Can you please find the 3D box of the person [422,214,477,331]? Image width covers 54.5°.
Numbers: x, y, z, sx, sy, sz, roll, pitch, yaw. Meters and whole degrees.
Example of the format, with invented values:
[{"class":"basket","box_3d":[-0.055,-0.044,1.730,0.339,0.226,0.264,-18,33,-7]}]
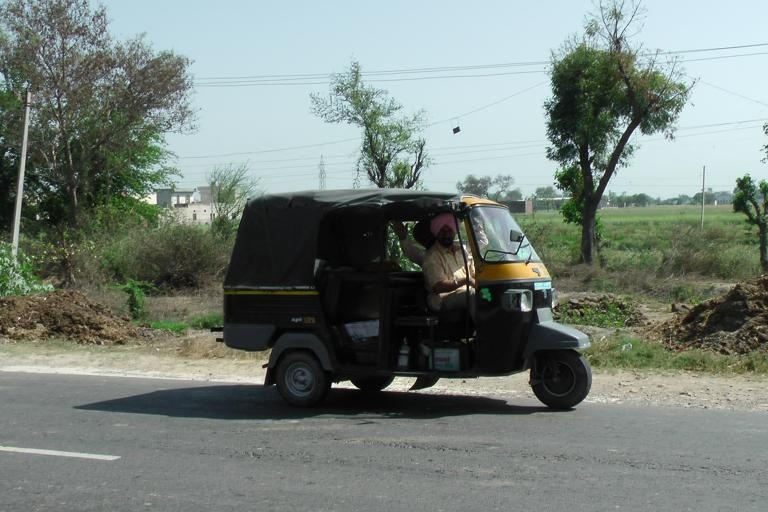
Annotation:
[{"class":"person","box_3d":[1.105,0.193,13.131,0.739,1.943,0.662,0,2,-9]}]
